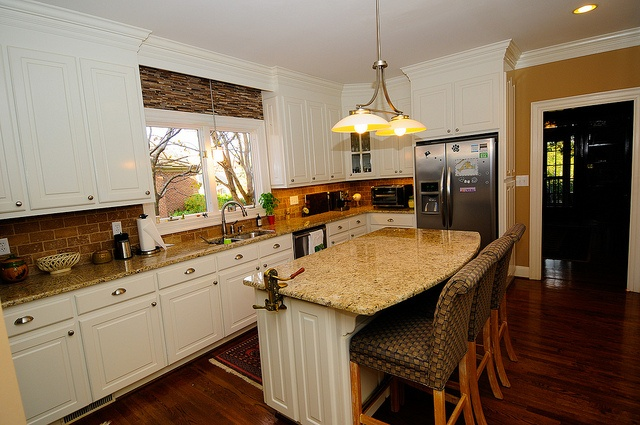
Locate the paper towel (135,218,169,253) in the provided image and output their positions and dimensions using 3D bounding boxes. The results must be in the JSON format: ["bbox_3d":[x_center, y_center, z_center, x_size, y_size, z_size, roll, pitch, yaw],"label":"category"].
[{"bbox_3d":[-1.936,0.250,4.665,0.264,0.406,0.189,-9,10,-21],"label":"paper towel"}]

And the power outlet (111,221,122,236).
[{"bbox_3d":[-2.305,0.177,4.616,0.109,0.146,0.047,-10,10,-27],"label":"power outlet"}]

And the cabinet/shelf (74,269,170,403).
[{"bbox_3d":[-1.957,1.379,4.410,0.890,1.277,0.764,-27,-26,7],"label":"cabinet/shelf"}]

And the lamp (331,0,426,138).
[{"bbox_3d":[0.670,-1.551,4.537,0.857,1.400,2.063,-3,8,13],"label":"lamp"}]

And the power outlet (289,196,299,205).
[{"bbox_3d":[-0.421,-0.191,6.321,0.021,0.100,0.148,0,4,35],"label":"power outlet"}]

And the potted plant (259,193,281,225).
[{"bbox_3d":[-0.740,-0.072,5.878,0.387,0.583,0.395,0,-3,-5],"label":"potted plant"}]

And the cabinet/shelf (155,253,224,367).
[{"bbox_3d":[-1.640,1.065,4.753,0.765,1.217,0.653,-13,16,-42],"label":"cabinet/shelf"}]

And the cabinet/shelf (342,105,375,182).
[{"bbox_3d":[0.702,-1.030,7.021,0.430,0.924,0.110,-2,-17,3],"label":"cabinet/shelf"}]

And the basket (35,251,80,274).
[{"bbox_3d":[-2.679,0.521,4.143,0.257,0.110,0.248,0,-1,-7],"label":"basket"}]

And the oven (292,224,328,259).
[{"bbox_3d":[-0.042,0.485,5.711,0.509,0.450,0.348,-15,-11,24],"label":"oven"}]

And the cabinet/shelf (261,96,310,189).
[{"bbox_3d":[-0.476,-1.065,5.989,0.635,1.351,0.317,-7,9,-11],"label":"cabinet/shelf"}]

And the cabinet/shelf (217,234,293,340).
[{"bbox_3d":[-0.753,0.855,4.464,0.482,1.047,1.256,0,5,30],"label":"cabinet/shelf"}]

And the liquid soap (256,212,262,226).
[{"bbox_3d":[-0.877,0.105,5.801,0.084,0.173,0.249,-6,8,-7],"label":"liquid soap"}]
